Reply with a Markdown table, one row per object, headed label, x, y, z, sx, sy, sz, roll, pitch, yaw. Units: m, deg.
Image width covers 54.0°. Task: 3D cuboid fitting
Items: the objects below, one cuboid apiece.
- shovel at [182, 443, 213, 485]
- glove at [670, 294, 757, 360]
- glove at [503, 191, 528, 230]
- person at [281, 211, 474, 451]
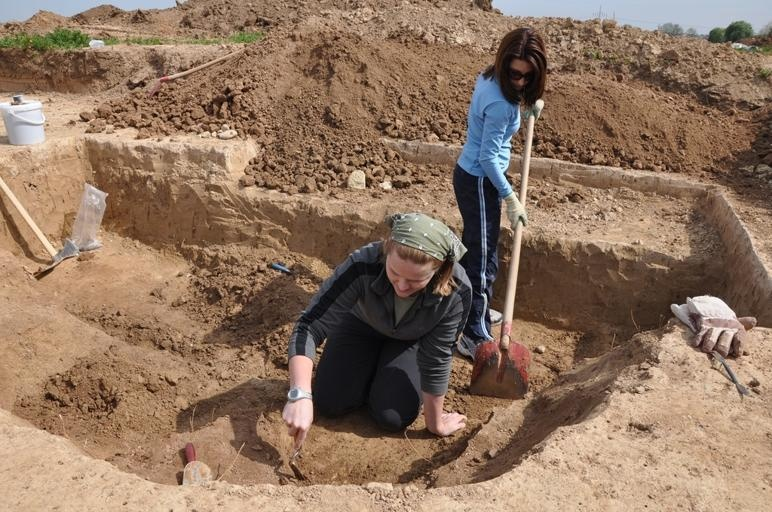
| label | x | y | z | sx | sy | sz | roll | pitch | yaw |
| --- | --- | --- | --- | --- | --- | --- | --- | --- | --- |
| shovel | -1.482 | 1.608 | 5.783 | 0.230 | 0.087 | 0.337 | 1 | 54 | -39 |
| glove | 2.527 | 0.554 | 5.835 | 0.437 | 0.171 | 0.510 | -3 | 48 | -6 |
| glove | 1.085 | -0.393 | 6.380 | 0.175 | 0.324 | 0.102 | -10 | 23 | 32 |
| person | -0.031 | 0.688 | 6.027 | 0.987 | 1.451 | 1.233 | 18 | 51 | -2 |
